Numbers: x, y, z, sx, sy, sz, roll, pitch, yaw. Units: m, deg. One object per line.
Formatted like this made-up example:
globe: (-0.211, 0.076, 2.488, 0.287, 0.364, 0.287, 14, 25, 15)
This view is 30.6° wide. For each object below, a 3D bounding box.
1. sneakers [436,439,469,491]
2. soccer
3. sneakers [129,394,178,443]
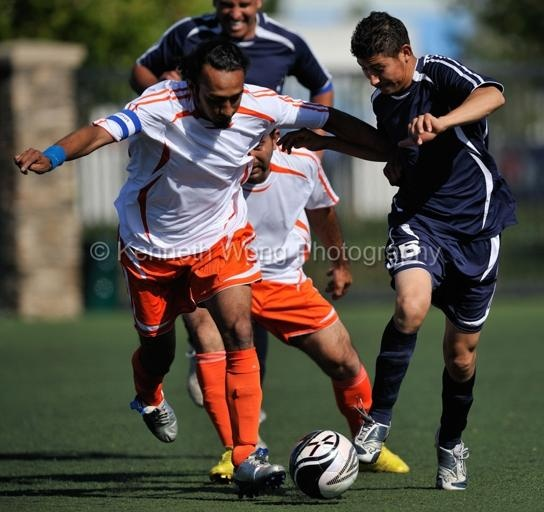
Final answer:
sneakers: (0.895, 1.059, 4.998, 0.153, 0.212, 0.199, -1, 3, 9)
soccer: (0.235, 1.005, 4.897, 0.278, 0.257, 0.275, 17, 5, -32)
sneakers: (-0.646, 0.934, 5.664, 0.176, 0.337, 0.150, -45, 21, -25)
